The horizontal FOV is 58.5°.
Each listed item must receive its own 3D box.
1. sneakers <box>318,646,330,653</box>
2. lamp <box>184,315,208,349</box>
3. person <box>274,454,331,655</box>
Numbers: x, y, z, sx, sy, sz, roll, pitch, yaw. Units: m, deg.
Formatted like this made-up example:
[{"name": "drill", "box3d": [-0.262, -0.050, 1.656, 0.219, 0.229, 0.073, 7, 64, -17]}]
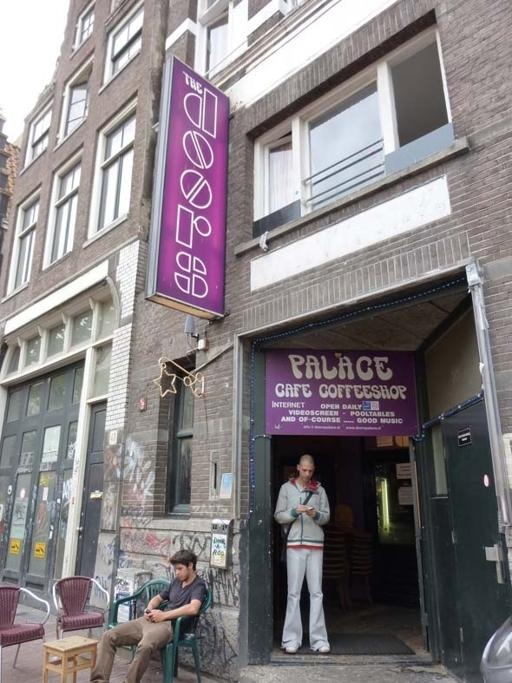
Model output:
[{"name": "sneakers", "box3d": [0.641, 2.899, 4.305, 0.045, 0.052, 0.125, 0, -26, -1]}, {"name": "lamp", "box3d": [-0.759, -0.130, 5.828, 0.256, 0.417, 0.197, 18, -34, -26]}, {"name": "person", "box3d": [0.475, 2.100, 4.658, 0.582, 1.839, 0.529, 0, -18, 2]}]
